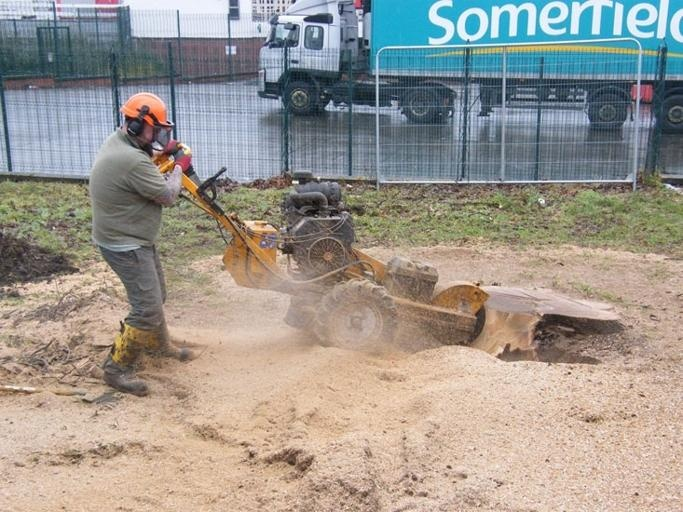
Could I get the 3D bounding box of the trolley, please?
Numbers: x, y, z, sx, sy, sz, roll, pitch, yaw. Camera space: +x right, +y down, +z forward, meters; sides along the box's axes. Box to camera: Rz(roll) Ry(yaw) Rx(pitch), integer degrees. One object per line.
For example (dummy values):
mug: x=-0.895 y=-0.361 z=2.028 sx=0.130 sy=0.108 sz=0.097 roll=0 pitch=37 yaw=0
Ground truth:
trolley: x=-0.148 y=-0.179 z=10.762 sx=5.117 sy=2.663 sz=1.764 roll=3 pitch=11 yaw=-8

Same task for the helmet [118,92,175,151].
helmet: x=-2.231 y=-1.473 z=8.856 sx=0.596 sy=0.510 sz=0.492 roll=21 pitch=-3 yaw=-18

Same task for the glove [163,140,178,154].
glove: x=-1.936 y=-1.225 z=8.981 sx=0.134 sy=0.137 sz=0.105 roll=-13 pitch=20 yaw=-43

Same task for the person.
person: x=-2.244 y=-0.121 z=8.734 sx=0.960 sy=3.265 sz=0.637 roll=-1 pitch=8 yaw=-19
